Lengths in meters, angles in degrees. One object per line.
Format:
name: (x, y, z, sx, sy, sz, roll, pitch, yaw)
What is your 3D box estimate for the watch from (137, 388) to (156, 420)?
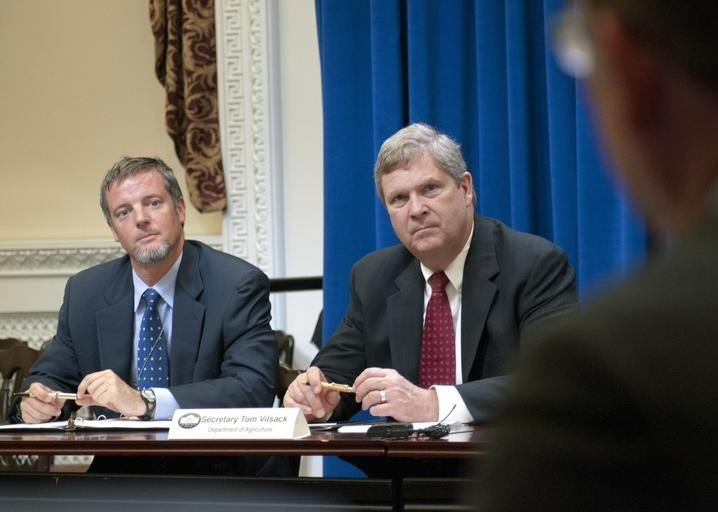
watch: (-0.516, 0.368, 1.807, 0.040, 0.064, 0.066, 5, 7, -7)

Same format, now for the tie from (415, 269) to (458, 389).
tie: (0.223, 0.204, 2.001, 0.098, 0.433, 0.046, -3, 39, 1)

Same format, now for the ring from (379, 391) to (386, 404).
ring: (0.051, 0.308, 1.587, 0.012, 0.021, 0.021, 1, -36, 0)
